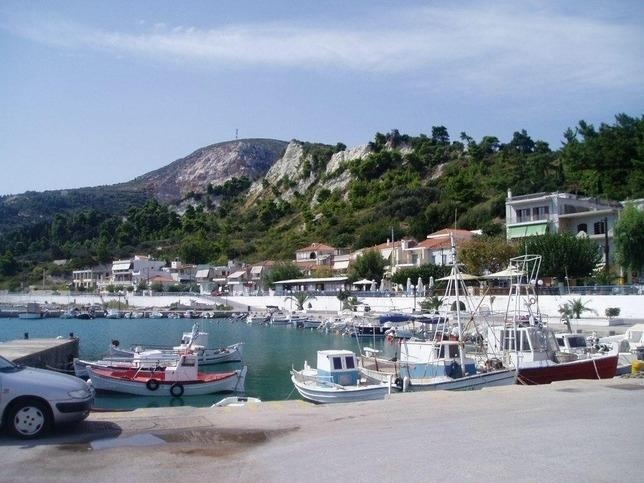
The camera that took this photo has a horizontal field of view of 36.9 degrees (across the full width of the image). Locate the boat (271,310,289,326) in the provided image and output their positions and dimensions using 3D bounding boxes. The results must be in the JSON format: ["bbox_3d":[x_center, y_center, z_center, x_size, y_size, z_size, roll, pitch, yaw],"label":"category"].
[{"bbox_3d":[-5.817,10.314,127.690,3.017,1.227,2.328,-2,6,45],"label":"boat"}]

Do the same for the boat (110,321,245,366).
[{"bbox_3d":[-12.679,9.346,86.234,12.279,4.561,2.693,3,-20,-27],"label":"boat"}]
